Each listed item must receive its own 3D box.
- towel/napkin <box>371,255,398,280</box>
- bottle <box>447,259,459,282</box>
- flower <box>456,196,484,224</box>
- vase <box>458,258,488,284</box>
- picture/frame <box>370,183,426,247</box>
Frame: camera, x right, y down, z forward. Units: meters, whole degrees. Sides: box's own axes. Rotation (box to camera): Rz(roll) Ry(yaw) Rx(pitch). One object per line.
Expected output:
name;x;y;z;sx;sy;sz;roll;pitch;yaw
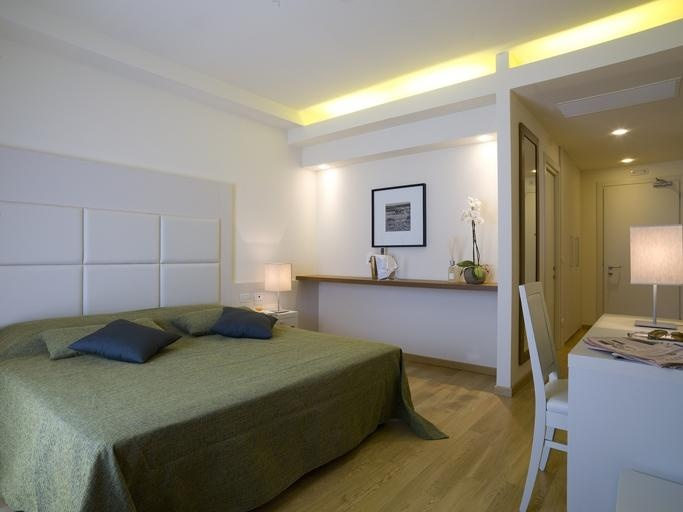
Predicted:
towel/napkin;0.492;0.129;5.222;0.349;0.382;0.202;1;2;28
bottle;1.230;0.147;4.887;0.102;0.222;0.158;-2;10;-25
flower;1.426;-0.489;4.790;0.227;0.298;0.086;6;10;19
vase;1.358;0.159;4.608;0.205;0.215;0.294;3;-5;-41
picture/frame;0.703;-0.483;5.266;0.711;0.779;0.031;0;0;38
